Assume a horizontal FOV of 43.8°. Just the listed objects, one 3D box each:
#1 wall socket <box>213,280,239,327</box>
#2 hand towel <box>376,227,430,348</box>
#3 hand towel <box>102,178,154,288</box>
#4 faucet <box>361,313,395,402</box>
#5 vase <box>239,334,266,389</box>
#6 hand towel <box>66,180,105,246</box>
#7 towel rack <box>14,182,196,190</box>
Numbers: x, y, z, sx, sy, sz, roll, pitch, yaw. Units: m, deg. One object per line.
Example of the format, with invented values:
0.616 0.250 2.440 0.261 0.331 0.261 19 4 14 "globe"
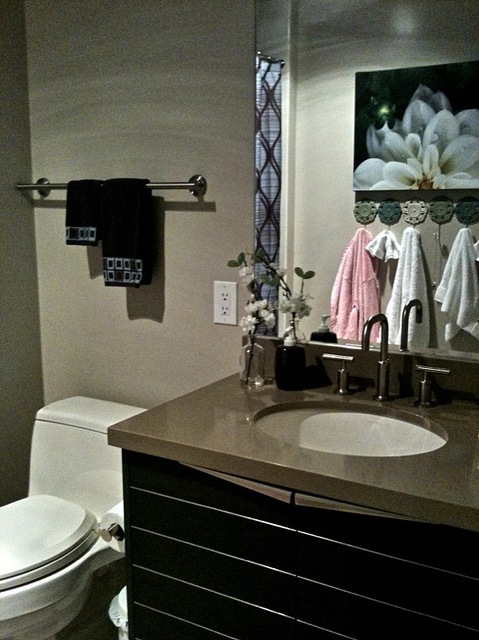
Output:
-0.034 -0.047 1.638 0.079 0.125 0.020 8 15 33 "wall socket"
0.390 -0.075 1.370 0.123 0.271 0.041 8 15 33 "hand towel"
-0.323 -0.242 1.712 0.159 0.310 0.048 6 11 30 "hand towel"
0.313 0.082 1.328 0.075 0.181 0.101 3 13 14 "faucet"
0.032 0.093 1.467 0.063 0.128 0.119 0 12 1 "vase"
-0.451 -0.331 1.780 0.143 0.171 0.044 7 10 34 "hand towel"
-0.407 -0.399 1.770 0.669 0.023 0.081 6 13 29 "towel rack"
